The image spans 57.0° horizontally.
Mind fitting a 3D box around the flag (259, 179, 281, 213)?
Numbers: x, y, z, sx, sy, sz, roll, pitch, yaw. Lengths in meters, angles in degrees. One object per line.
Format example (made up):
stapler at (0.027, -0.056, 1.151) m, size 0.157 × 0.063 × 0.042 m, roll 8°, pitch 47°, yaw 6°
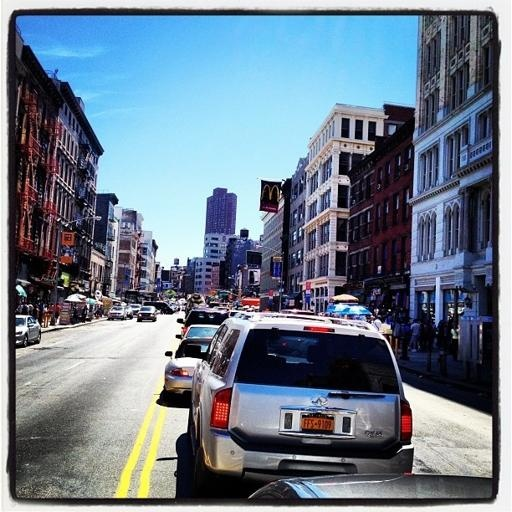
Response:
flag at (2.466, -10.314, 78.500) m, size 3.883 × 6.007 × 0.250 m, roll 8°, pitch 2°, yaw 9°
